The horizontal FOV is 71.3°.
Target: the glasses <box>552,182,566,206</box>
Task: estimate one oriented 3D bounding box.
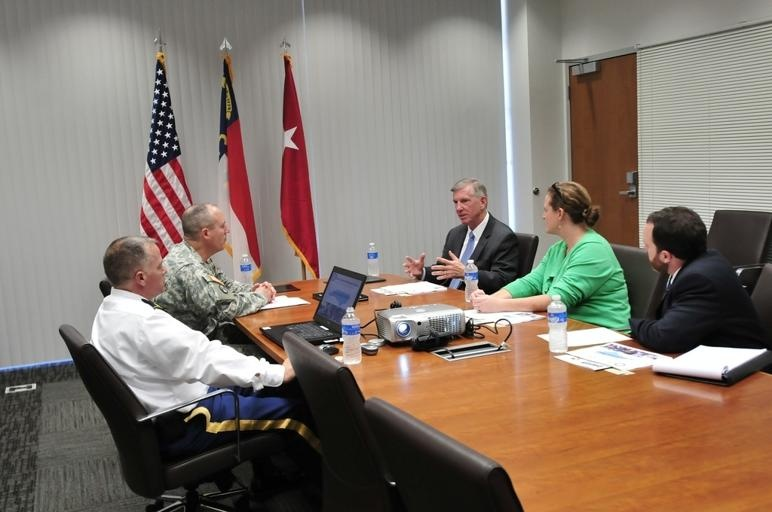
[{"bbox_3d":[1.044,-0.377,3.342,0.094,0.131,0.127,-2,3,3],"label":"glasses"}]

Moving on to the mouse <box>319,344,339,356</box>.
[{"bbox_3d":[-0.288,0.463,2.706,0.075,0.053,0.147,-1,1,-12],"label":"mouse"}]

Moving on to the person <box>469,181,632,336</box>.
[{"bbox_3d":[1.042,0.028,3.863,0.978,1.625,0.736,0,1,11],"label":"person"}]

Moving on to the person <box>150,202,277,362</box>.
[{"bbox_3d":[-1.156,0.337,3.693,0.720,1.316,0.541,-4,16,-21],"label":"person"}]

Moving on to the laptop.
[{"bbox_3d":[-0.375,0.208,3.003,0.429,0.357,0.476,-2,6,-25],"label":"laptop"}]
